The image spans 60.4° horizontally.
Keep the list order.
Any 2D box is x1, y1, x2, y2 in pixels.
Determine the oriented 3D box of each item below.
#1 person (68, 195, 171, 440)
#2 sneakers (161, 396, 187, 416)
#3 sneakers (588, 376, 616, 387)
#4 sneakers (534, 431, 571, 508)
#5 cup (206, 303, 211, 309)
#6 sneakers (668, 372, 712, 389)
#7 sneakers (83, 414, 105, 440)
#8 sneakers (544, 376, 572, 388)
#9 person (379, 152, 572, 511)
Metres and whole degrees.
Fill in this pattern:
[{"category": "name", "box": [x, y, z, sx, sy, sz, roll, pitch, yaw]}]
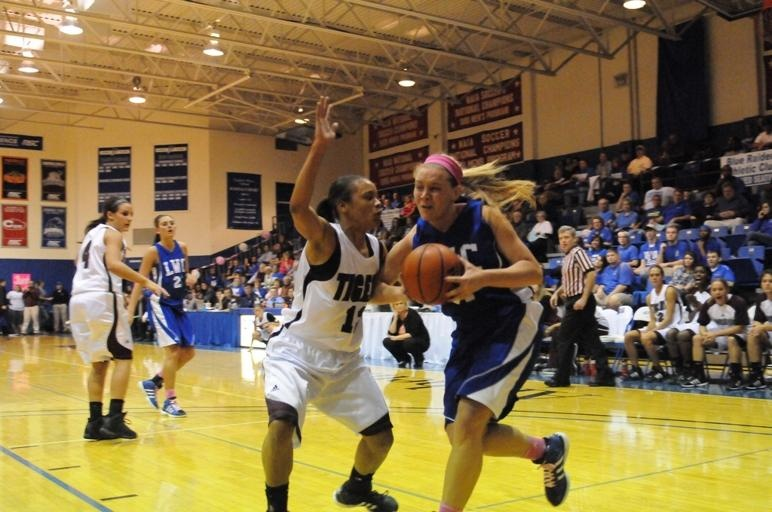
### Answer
[{"category": "person", "box": [-2.959, 0.640, 7.115, 0.923, 2.616, 0.542, -3, -4, 16]}, {"category": "sneakers", "box": [-2.602, 1.852, 8.144, 0.418, 0.179, 0.165, -1, -5, 42]}, {"category": "sneakers", "box": [3.165, 1.841, 9.717, 0.407, 0.164, 0.143, 4, -9, -4]}, {"category": "sneakers", "box": [1.327, 1.666, 5.281, 0.302, 0.613, 0.221, -11, 9, -41]}, {"category": "cup", "box": [-5.036, 1.433, 18.867, 0.154, 0.128, 0.147, -1, -4, 0]}, {"category": "sneakers", "box": [4.303, 1.796, 9.487, 0.619, 0.238, 0.216, 8, -10, -6]}, {"category": "sneakers", "box": [-3.069, 1.812, 6.969, 0.205, 0.248, 0.105, -1, -4, -15]}, {"category": "sneakers", "box": [2.519, 1.861, 9.708, 0.364, 0.160, 0.137, 4, -9, 1]}, {"category": "person", "box": [0.751, 0.585, 5.009, 1.203, 2.749, 0.690, -1, -4, -16]}]
